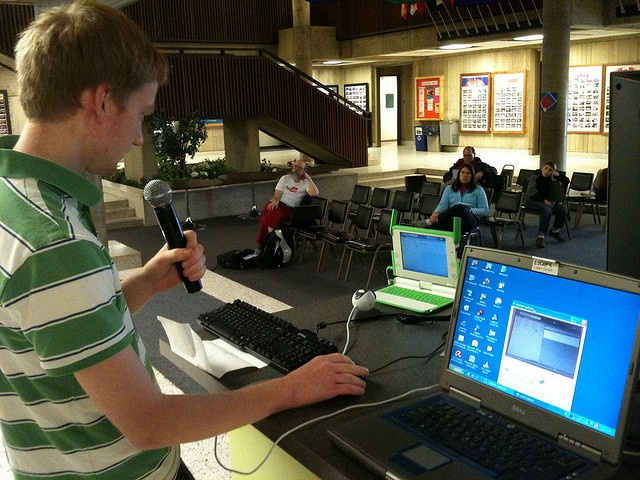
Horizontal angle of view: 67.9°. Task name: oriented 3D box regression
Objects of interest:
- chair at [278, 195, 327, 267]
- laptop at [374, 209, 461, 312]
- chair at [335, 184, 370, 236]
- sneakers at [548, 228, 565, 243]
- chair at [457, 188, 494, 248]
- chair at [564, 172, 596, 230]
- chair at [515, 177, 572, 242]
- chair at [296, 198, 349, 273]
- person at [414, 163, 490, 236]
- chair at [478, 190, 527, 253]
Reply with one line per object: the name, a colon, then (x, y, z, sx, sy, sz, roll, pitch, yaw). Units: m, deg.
chair: (-0.229, -0.233, 8.102, 0.845, 0.997, 0.840, 19, 12, 30)
laptop: (0.561, 0.118, 2.868, 0.469, 0.508, 0.397, 5, -17, -20)
chair: (0.450, -0.552, 9.535, 0.596, 1.041, 0.584, -1, -10, 25)
sneakers: (4.337, -0.056, 8.732, 0.120, 0.164, 0.346, -15, 40, -26)
chair: (3.089, -0.392, 9.448, 0.762, 1.224, 0.667, 5, 19, 42)
chair: (5.227, -0.858, 9.756, 0.649, 0.977, 0.662, 0, 13, -18)
chair: (4.200, -0.733, 8.853, 0.582, 1.525, 0.828, 0, 6, -3)
chair: (0.188, -0.107, 8.295, 0.554, 0.998, 0.602, 13, 23, 42)
person: (2.141, -0.617, 7.629, 0.961, 1.261, 0.753, 3, 4, -21)
chair: (3.203, -0.339, 8.333, 0.659, 1.062, 0.708, 7, 10, 24)
